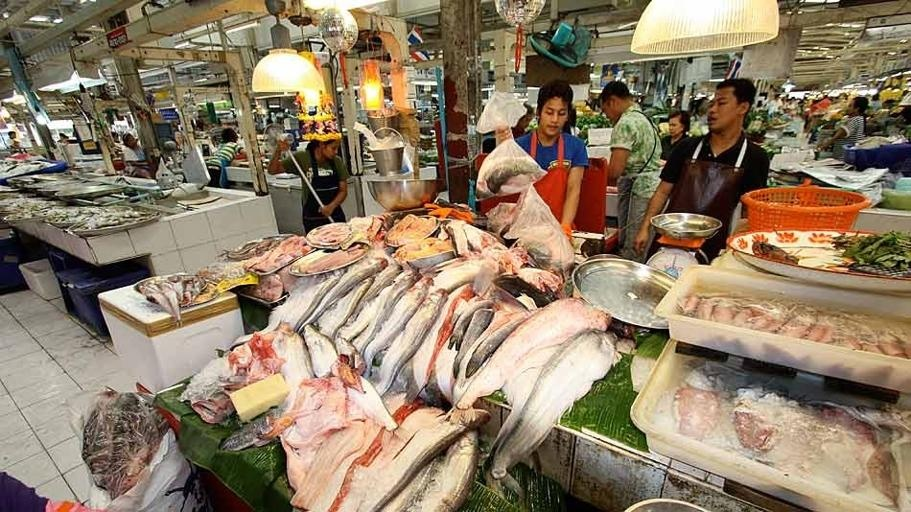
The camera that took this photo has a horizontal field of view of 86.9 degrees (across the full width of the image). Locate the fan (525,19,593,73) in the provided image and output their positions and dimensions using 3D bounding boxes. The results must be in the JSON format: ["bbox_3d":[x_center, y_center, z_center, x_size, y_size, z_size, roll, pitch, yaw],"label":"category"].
[{"bbox_3d":[1.398,-2.840,6.476,0.640,0.567,0.691,9,25,27],"label":"fan"}]

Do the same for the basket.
[{"bbox_3d":[3.216,-0.375,4.444,0.979,0.323,0.896,6,-4,-11],"label":"basket"}]

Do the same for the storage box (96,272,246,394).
[{"bbox_3d":[-2.596,0.775,4.607,0.650,0.777,0.853,14,23,34],"label":"storage box"}]

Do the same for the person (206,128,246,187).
[{"bbox_3d":[-4.916,-2.100,10.162,0.682,1.141,2.006,-10,22,-15],"label":"person"}]

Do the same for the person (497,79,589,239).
[{"bbox_3d":[1.097,-1.086,5.011,0.669,1.433,0.829,-9,24,-13],"label":"person"}]

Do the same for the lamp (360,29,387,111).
[{"bbox_3d":[-1.241,-2.504,6.984,0.312,0.710,0.860,-6,22,-8],"label":"lamp"}]

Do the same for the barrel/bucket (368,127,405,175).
[{"bbox_3d":[-0.806,-1.225,5.643,0.368,0.516,0.454,-5,23,-6],"label":"barrel/bucket"}]
